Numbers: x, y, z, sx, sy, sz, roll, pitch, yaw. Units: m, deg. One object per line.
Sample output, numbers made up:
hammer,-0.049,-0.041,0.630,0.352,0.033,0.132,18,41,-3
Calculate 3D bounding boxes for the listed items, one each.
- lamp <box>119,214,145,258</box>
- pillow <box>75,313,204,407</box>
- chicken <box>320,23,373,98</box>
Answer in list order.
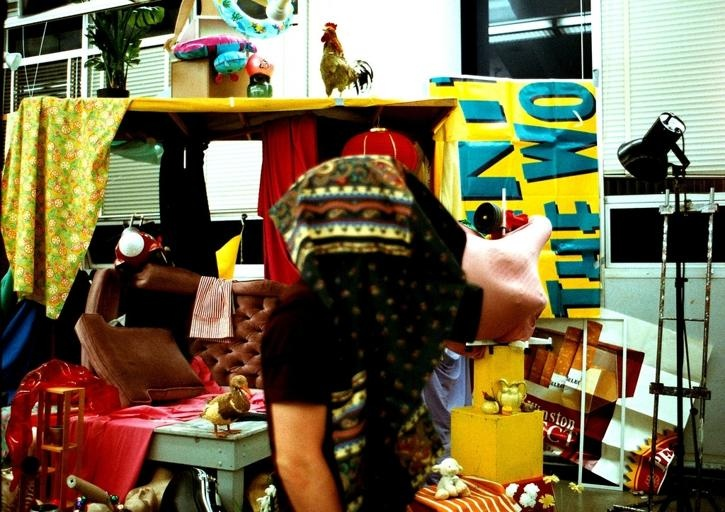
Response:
lamp,-1.870,-0.141,7.173,0.208,0.305,0.210,-2,4,-19
pillow,-1.701,0.767,6.843,0.773,0.668,0.524,-5,6,-44
chicken,-0.144,-1.541,7.033,0.246,0.586,0.526,1,5,28
